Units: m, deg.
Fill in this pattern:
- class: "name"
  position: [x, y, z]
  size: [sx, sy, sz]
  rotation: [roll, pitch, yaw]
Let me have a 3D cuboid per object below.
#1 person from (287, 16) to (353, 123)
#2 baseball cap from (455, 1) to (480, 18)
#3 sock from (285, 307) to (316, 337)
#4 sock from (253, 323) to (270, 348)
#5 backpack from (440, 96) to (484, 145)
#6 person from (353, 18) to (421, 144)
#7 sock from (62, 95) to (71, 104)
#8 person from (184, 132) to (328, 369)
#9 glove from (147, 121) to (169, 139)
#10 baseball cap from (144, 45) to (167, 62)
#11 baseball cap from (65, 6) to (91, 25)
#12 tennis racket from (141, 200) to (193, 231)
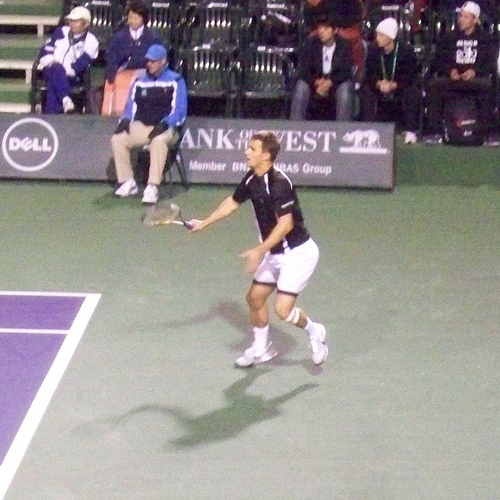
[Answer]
- class: "person"
  position: [1.114, -2.744, 11.618]
  size: [0.948, 1.509, 0.779]
  rotation: [2, 12, 2]
- class: "baseball cap"
  position: [3.600, -3.900, 12.453]
  size: [0.246, 0.258, 0.387]
  rotation: [7, 13, 26]
- class: "sock"
  position: [0.354, 0.495, 5.452]
  size: [0.231, 0.221, 0.205]
  rotation: [-1, 12, -8]
- class: "sock"
  position: [0.107, 0.606, 5.617]
  size: [0.101, 0.172, 0.202]
  rotation: [9, 14, 31]
- class: "backpack"
  position: [3.593, -2.151, 12.800]
  size: [0.885, 0.697, 0.199]
  rotation: [6, 15, 14]
- class: "person"
  position: [2.242, -2.655, 12.223]
  size: [0.676, 1.959, 1.492]
  rotation: [13, 17, 43]
- class: "sock"
  position: [-2.774, -2.269, 11.552]
  size: [0.117, 0.108, 0.205]
  rotation: [-2, 12, -12]
- class: "person"
  position: [0.134, 0.023, 5.371]
  size: [0.911, 1.676, 1.017]
  rotation: [2, 12, 2]
- class: "glove"
  position: [-1.177, -1.553, 9.938]
  size: [0.235, 0.222, 0.133]
  rotation: [-10, 17, -42]
- class: "baseball cap"
  position: [-1.197, -2.506, 9.812]
  size: [0.257, 0.207, 0.180]
  rotation: [-2, 12, -14]
- class: "baseball cap"
  position: [-2.633, -3.614, 11.916]
  size: [0.348, 0.261, 0.510]
  rotation: [9, 11, 29]
- class: "tennis racket"
  position: [-0.792, -0.317, 7.229]
  size: [0.563, 0.264, 0.348]
  rotation: [15, -4, -5]
